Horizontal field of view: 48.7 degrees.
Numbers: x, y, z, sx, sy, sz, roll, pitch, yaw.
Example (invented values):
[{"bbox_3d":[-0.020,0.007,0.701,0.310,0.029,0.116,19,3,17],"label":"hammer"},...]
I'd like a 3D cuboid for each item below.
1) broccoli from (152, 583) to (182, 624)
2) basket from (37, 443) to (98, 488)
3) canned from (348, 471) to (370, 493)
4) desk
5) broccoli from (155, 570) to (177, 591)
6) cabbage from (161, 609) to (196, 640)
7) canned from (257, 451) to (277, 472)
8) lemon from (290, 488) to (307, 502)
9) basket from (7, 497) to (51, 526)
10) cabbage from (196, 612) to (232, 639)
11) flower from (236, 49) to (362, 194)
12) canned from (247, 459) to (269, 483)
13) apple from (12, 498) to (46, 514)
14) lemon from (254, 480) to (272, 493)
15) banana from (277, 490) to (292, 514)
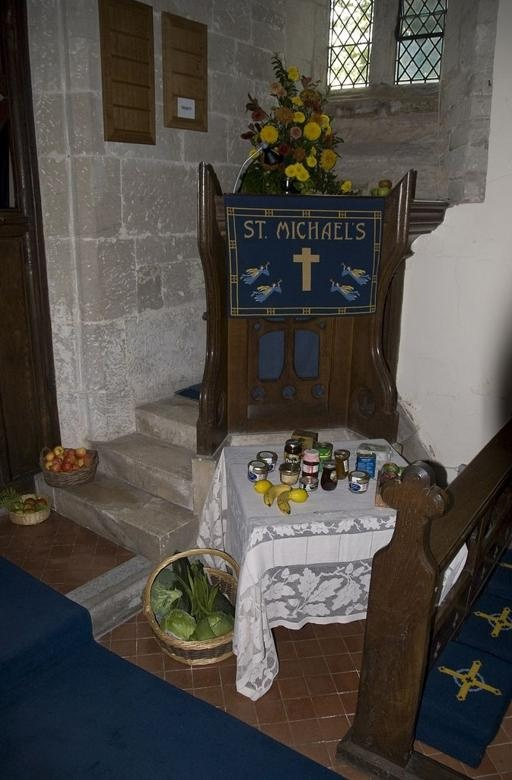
[{"bbox_3d":[-0.446,1.030,2.755,0.153,0.160,0.049,-17,-17,-2],"label":"broccoli"},{"bbox_3d":[-1.328,0.523,4.066,0.267,0.182,0.341,0,12,-7],"label":"basket"},{"bbox_3d":[0.460,0.416,2.553,0.084,0.077,0.086,2,10,-2],"label":"canned"},{"bbox_3d":[0.143,0.822,2.744,0.702,0.895,0.842,-5,14,-17],"label":"desk"},{"bbox_3d":[-0.448,0.943,2.804,0.059,0.032,0.080,3,43,4],"label":"broccoli"},{"bbox_3d":[-0.365,1.096,2.682,0.110,0.086,0.138,10,16,-37],"label":"cabbage"},{"bbox_3d":[0.044,0.334,2.737,0.085,0.077,0.078,17,32,26],"label":"canned"},{"bbox_3d":[0.182,0.452,2.429,0.065,0.053,0.052,5,-8,13],"label":"lemon"},{"bbox_3d":[-1.569,0.831,3.939,0.231,0.190,0.235,-1,14,0],"label":"basket"},{"bbox_3d":[-0.201,1.102,2.668,0.111,0.102,0.133,-1,-14,-14],"label":"cabbage"},{"bbox_3d":[0.173,-1.640,3.577,0.704,0.859,1.039,-5,14,-13],"label":"flower"},{"bbox_3d":[0.008,0.380,2.677,0.090,0.087,0.090,9,26,12],"label":"canned"},{"bbox_3d":[-1.548,0.799,3.909,0.110,0.047,0.119,1,12,0],"label":"apple"},{"bbox_3d":[0.030,0.431,2.528,0.061,0.050,0.048,-14,27,-28],"label":"lemon"},{"bbox_3d":[0.116,0.484,2.401,0.050,0.028,0.108,-1,19,3],"label":"banana"}]
